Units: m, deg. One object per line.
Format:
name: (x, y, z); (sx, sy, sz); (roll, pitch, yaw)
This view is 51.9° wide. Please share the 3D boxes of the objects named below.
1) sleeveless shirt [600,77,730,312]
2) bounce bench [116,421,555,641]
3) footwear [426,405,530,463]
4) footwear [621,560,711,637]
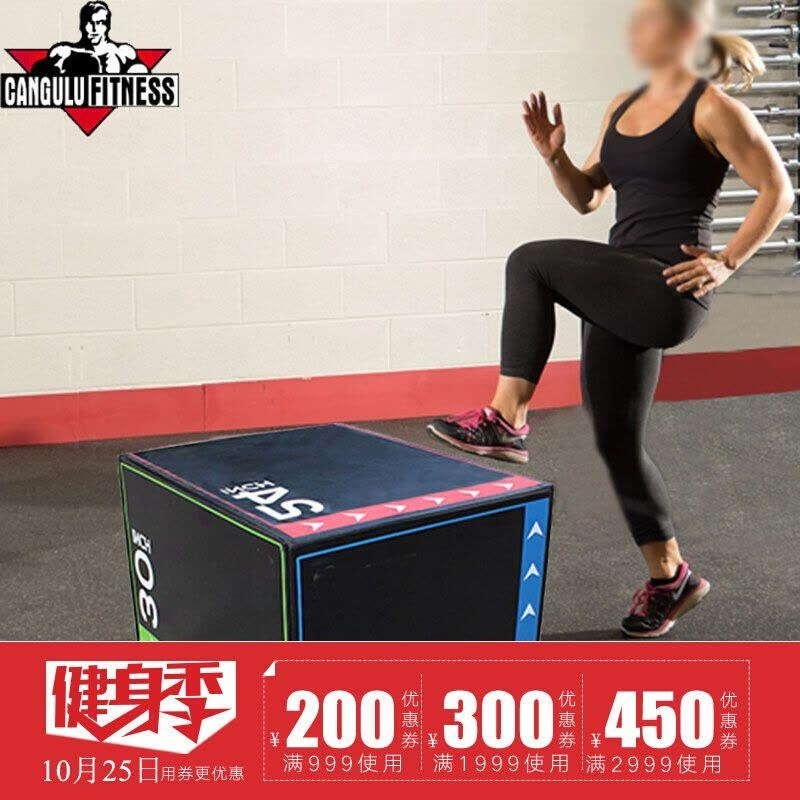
sleeveless shirt: (0.447, -0.388, 1.429); (0.212, 0.317, 0.128); (-1, 7, 16)
bounce bench: (-0.053, 0.097, 1.001); (0.376, 0.212, 0.364); (-4, 13, -33)
footwear: (0.147, 0.066, 1.567); (0.209, 0.091, 0.080); (16, 5, -10)
footwear: (0.551, 0.424, 1.736); (0.166, 0.074, 0.065); (-39, 31, -4)
